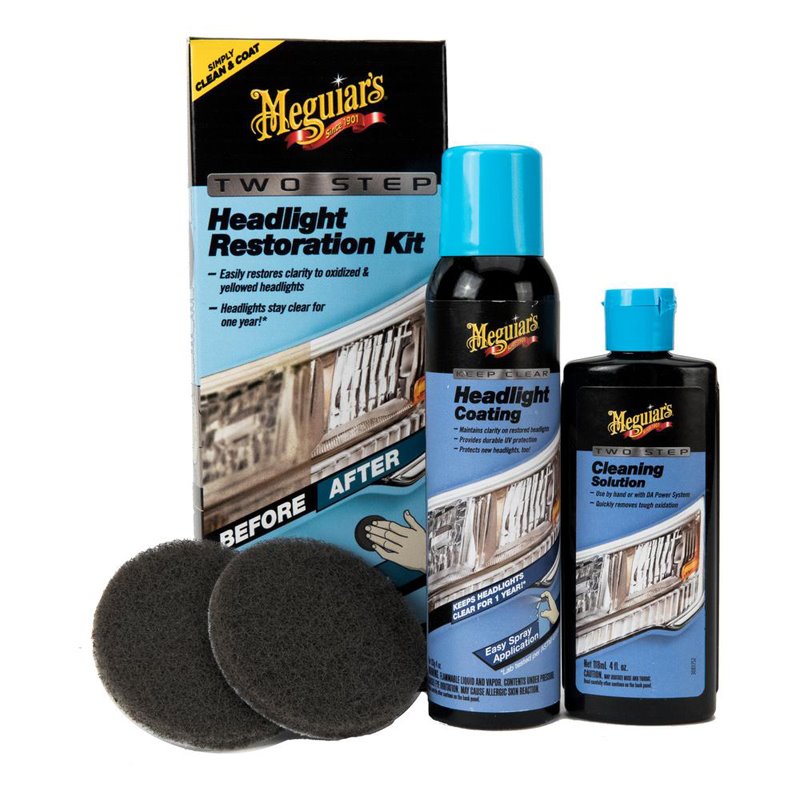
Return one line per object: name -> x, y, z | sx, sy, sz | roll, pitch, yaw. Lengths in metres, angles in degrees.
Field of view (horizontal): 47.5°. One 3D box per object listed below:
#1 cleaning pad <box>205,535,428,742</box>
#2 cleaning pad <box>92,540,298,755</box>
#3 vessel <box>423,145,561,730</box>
cleaning pad -> -0.123, 0.370, 1.425 | 0.331, 0.257, 0.204 | -6, 13, -16
cleaning pad -> -0.364, 0.406, 1.472 | 0.043, 0.340, 0.394 | -36, 4, 18
vessel -> 0.135, 0.059, 1.362 | 0.198, 0.865, 0.217 | -2, 13, 8
